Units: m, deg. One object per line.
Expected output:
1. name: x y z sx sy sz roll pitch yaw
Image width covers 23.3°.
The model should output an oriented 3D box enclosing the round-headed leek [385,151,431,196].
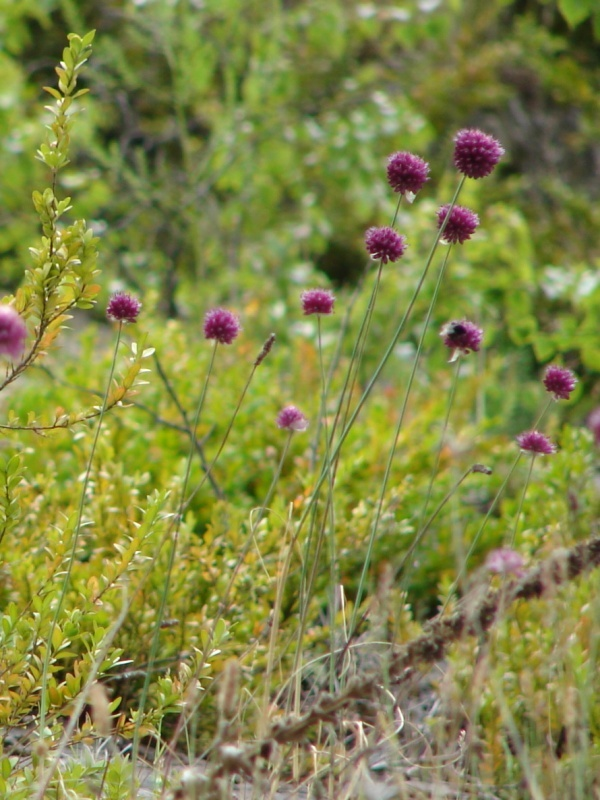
1. round-headed leek: 0.211 -0.428 2.810 0.085 0.087 0.087 6 -10 1
